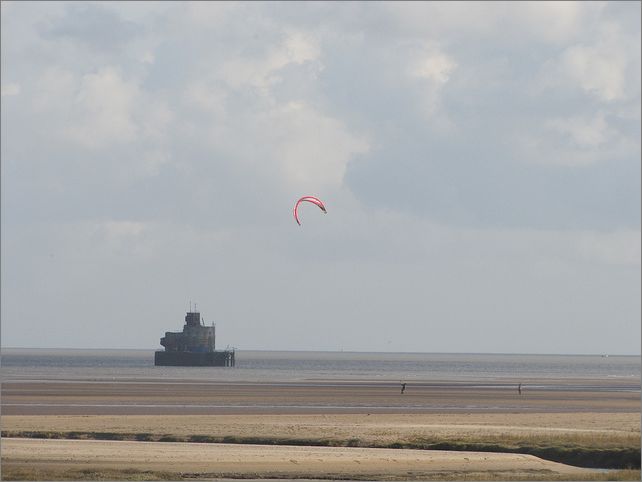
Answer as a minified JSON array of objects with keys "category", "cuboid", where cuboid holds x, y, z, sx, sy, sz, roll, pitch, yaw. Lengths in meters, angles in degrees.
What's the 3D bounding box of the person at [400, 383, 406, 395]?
[{"category":"person","cuboid":[10.459,19.197,209.414,0.578,0.929,1.707,11,-67,10]}]
